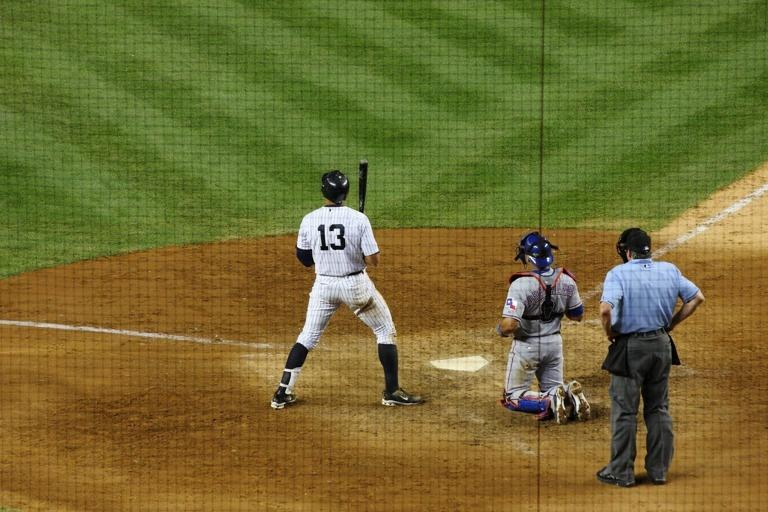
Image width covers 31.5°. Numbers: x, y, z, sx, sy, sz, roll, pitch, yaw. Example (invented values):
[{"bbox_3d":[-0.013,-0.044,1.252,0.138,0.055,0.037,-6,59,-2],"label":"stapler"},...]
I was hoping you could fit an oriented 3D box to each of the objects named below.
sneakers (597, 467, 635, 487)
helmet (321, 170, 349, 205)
[{"bbox_3d":[3.743,3.585,21.987,0.663,0.194,0.270,12,12,21],"label":"sneakers"},{"bbox_3d":[-0.763,-1.205,23.108,0.552,0.428,0.555,-4,28,-13],"label":"helmet"}]
